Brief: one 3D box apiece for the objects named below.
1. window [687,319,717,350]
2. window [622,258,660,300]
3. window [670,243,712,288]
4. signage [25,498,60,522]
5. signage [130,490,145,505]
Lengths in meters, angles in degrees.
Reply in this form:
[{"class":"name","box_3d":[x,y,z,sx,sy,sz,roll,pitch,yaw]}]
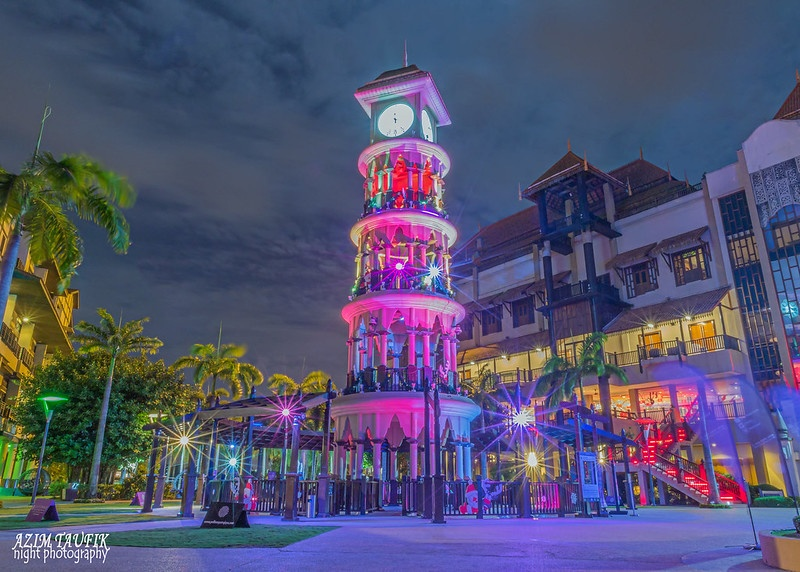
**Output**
[{"class":"window","box_3d":[24.626,3.968,44.950,2.262,3.207,0.317,-4,-32,28]},{"class":"window","box_3d":[22.323,-0.681,51.068,0.221,3.500,2.902,21,-29,-27]},{"class":"window","box_3d":[25.434,-1.808,48.112,0.155,4.086,3.289,17,-18,-32]},{"class":"signage","box_3d":[-13.106,8.260,20.343,1.039,0.835,0.671,6,-24,-15]},{"class":"signage","box_3d":[-16.530,13.437,34.830,0.557,0.930,2.238,11,-27,-26]}]
